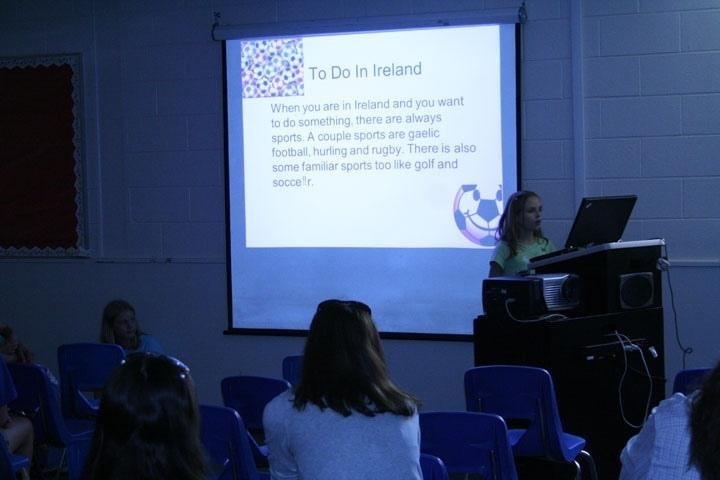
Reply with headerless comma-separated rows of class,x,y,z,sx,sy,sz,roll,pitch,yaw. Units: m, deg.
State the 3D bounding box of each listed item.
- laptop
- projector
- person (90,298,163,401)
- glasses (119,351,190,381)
laptop,1.589,-0.120,4.760,0.536,0.358,0.500,2,-5,-35
projector,1.138,0.377,4.584,0.633,0.219,0.176,-2,0,12
person,-1.884,0.901,5.488,0.575,0.848,0.455,-6,4,-30
glasses,-0.927,0.562,3.178,0.161,0.058,0.174,13,-26,-1
